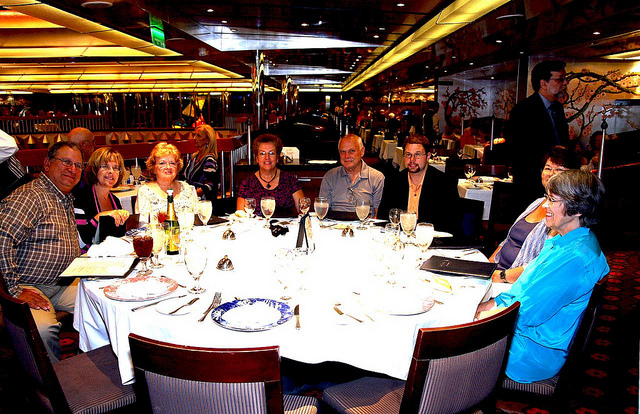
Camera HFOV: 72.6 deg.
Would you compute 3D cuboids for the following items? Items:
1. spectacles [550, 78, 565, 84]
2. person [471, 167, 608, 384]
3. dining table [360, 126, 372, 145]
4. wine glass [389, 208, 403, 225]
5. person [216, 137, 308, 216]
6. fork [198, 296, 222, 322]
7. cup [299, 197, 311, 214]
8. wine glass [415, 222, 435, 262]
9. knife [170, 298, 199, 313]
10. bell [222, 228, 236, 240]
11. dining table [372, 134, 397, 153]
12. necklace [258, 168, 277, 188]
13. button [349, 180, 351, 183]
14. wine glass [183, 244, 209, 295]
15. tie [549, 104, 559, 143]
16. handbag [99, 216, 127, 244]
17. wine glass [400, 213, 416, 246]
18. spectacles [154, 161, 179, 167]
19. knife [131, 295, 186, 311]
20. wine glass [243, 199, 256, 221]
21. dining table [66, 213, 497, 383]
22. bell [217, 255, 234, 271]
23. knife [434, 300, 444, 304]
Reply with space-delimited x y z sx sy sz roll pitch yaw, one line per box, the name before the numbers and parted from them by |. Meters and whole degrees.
spectacles | 2.492 -1.321 4.542 0.190 0.061 0.065 -6 11 -29
person | 1.338 0.412 2.636 0.697 1.259 0.537 3 11 17
dining table | 1.865 -2.959 17.659 0.741 0.423 0.871 1 22 2
wine glass | 0.554 0.077 3.255 0.105 0.109 0.101 -1 1 -16
person | -0.502 -0.132 4.402 0.871 1.120 0.663 -7 12 -17
fork | -0.578 0.532 2.311 0.030 0.031 0.208 -13 20 18
cup | -0.120 -0.006 3.541 0.123 0.171 0.112 0 7 0
wine glass | 0.706 0.242 2.939 0.160 0.337 0.165 -1 20 14
knife | -0.723 0.530 2.413 0.028 0.027 0.260 35 23 20
bell | -0.688 0.206 3.304 0.098 0.056 0.132 -2 10 -12
dining table | 2.141 -2.218 14.606 1.064 0.481 1.016 -2 9 -8
necklace | -0.535 -0.294 4.423 0.233 0.334 0.029 1 29 -6
button | 0.320 -0.273 4.607 0.026 0.029 0.023 -1 -8 -1
wine glass | -0.711 0.339 2.520 0.123 0.303 0.286 -3 11 -16
tie | 2.434 -0.946 4.551 0.066 0.245 0.259 -2 36 18
handbag | -1.682 0.184 3.497 0.291 0.198 0.265 3 1 -14
wine glass | 0.638 0.157 3.129 0.133 0.231 0.125 -10 13 -39
spectacles | -1.378 -0.398 3.978 0.197 0.051 0.097 -7 12 -36
knife | -0.889 0.532 2.441 0.301 0.031 0.020 -9 34 -25
wine glass | -0.591 0.022 3.654 0.111 0.201 0.102 -3 35 -11
dining table | -0.291 0.500 2.984 1.733 0.422 1.658 1 11 -2
bell | -0.598 0.369 2.773 0.098 0.068 0.096 8 16 20
knife | 0.664 0.532 2.426 0.053 0.011 0.027 6 11 31
